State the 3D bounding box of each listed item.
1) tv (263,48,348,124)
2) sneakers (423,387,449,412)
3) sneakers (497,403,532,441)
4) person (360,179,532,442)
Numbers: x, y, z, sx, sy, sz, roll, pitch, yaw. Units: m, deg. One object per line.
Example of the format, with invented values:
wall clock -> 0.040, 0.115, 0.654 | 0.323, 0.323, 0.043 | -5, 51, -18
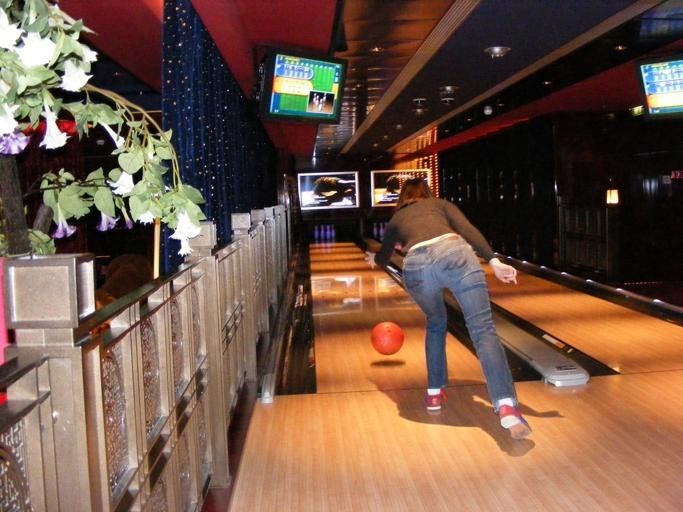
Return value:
tv -> -0.330, -1.486, 3.933 | 0.800, 0.583, 0.082 | 3, 20, -30
sneakers -> 0.563, 0.841, 2.662 | 0.069, 0.086, 0.196 | -1, 1, 5
sneakers -> 0.852, 0.845, 2.232 | 0.096, 0.248, 0.117 | -23, 34, 19
person -> 0.602, 0.231, 2.477 | 0.452, 1.349, 0.953 | -6, 8, -23
